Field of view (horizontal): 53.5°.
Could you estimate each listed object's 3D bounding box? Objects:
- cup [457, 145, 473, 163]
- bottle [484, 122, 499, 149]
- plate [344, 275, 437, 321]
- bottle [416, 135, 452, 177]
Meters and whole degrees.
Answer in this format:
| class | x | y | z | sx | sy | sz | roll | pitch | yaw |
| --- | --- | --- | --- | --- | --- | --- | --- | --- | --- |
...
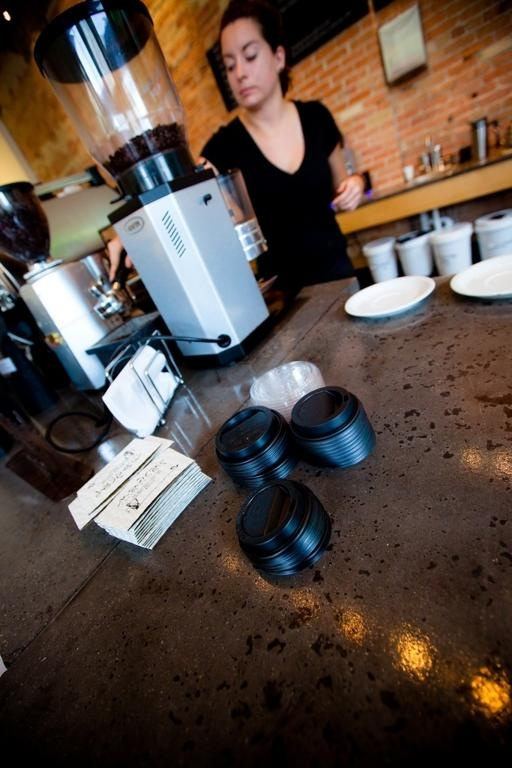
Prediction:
| class | x | y | z | sx | sy | sz | roll | pitch | yaw |
| --- | --- | --- | --- | --- | --- | --- | --- | --- | --- |
| cup | 1.139 | -1.242 | 2.764 | 0.069 | 0.071 | 0.085 | -27 | 26 | 8 |
| bottle | 1.227 | -1.279 | 2.634 | 0.066 | 0.109 | 0.115 | 9 | 58 | 30 |
| plate | 0.260 | -0.170 | 1.018 | 0.127 | 0.018 | 0.116 | -23 | 28 | -8 |
| bottle | 0.990 | -1.281 | 2.857 | 0.144 | 0.182 | 0.200 | -25 | 26 | 13 |
